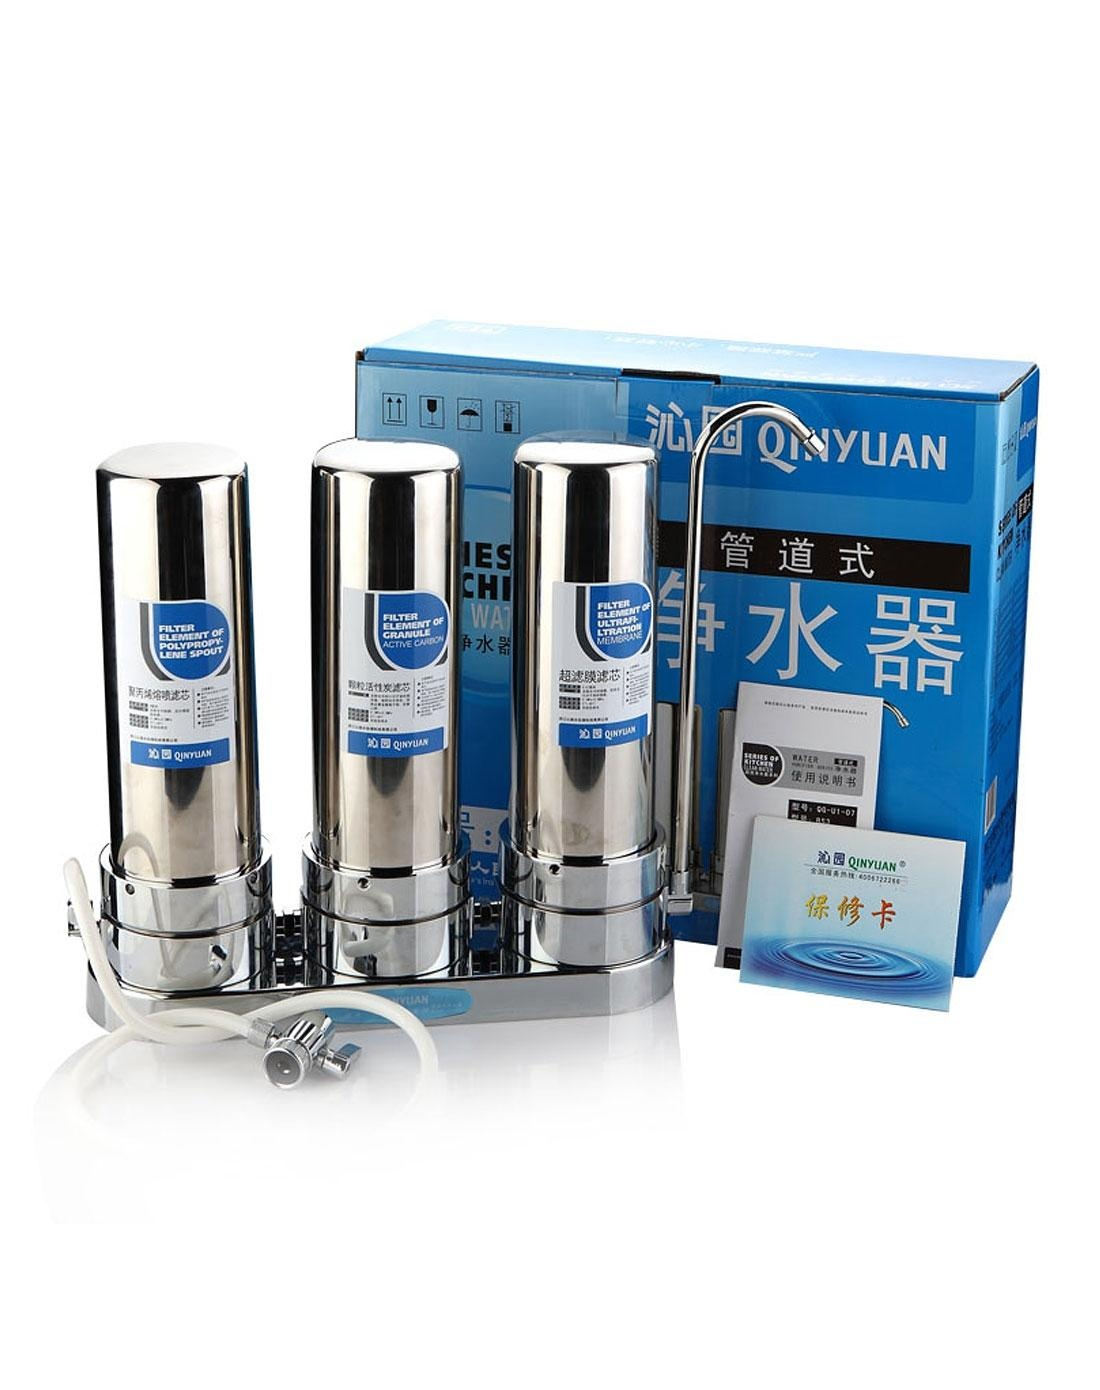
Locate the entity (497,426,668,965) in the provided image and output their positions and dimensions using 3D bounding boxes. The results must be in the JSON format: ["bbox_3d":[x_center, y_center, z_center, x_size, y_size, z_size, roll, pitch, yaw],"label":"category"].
[{"bbox_3d":[0.008,-0.011,1.718,0.196,0.603,0.196,-3,11,-13],"label":"entity"}]

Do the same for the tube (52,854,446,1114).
[{"bbox_3d":[-0.327,0.375,1.661,0.470,0.180,0.290,5,26,0],"label":"tube"}]
